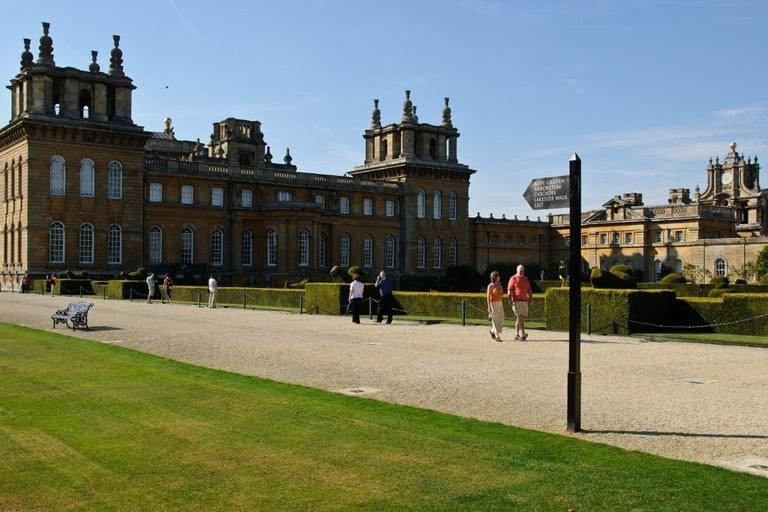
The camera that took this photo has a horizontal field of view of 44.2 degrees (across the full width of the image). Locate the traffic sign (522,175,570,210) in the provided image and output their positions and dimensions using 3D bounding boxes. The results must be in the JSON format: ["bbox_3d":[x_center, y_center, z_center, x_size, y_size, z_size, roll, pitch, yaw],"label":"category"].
[{"bbox_3d":[3.073,-1.168,17.881,0.821,0.613,0.368,7,10,41],"label":"traffic sign"}]

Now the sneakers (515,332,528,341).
[{"bbox_3d":[4.001,2.360,27.635,0.475,0.196,0.157,-8,8,-32],"label":"sneakers"}]

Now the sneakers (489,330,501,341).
[{"bbox_3d":[3.196,2.342,27.310,0.142,0.100,0.379,-1,41,-49],"label":"sneakers"}]

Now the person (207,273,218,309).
[{"bbox_3d":[-7.658,1.689,42.157,0.312,1.332,1.399,-1,8,-10],"label":"person"}]
